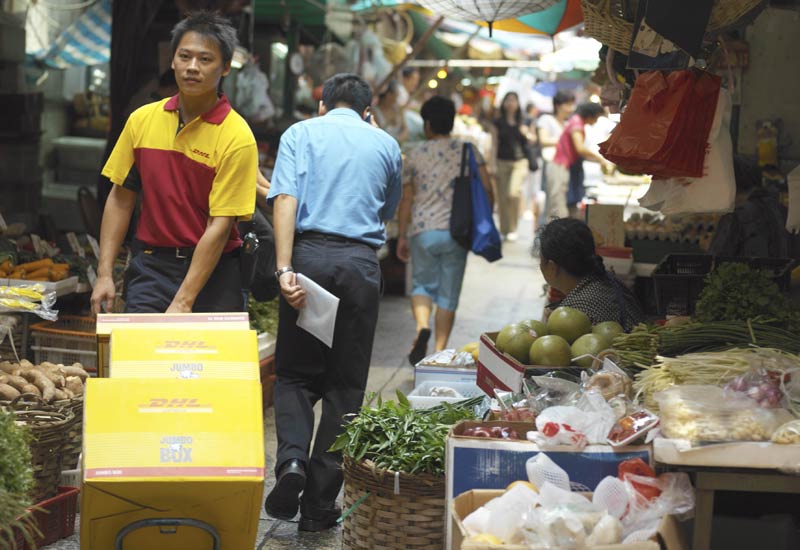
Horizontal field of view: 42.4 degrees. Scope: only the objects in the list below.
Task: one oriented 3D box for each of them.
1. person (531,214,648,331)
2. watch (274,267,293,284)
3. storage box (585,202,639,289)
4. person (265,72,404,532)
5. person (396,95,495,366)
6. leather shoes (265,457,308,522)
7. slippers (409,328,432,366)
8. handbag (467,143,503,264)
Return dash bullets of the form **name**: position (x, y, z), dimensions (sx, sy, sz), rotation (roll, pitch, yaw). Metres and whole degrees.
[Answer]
- **person**: position (1.147, 0.160, 6.360), dimensions (0.639, 0.931, 0.663), rotation (-12, 4, -9)
- **watch**: position (-0.644, -0.012, 5.788), dimensions (0.103, 0.063, 0.100), rotation (21, -48, -40)
- **storage box**: position (1.617, -0.217, 7.966), dimensions (0.357, 0.594, 0.468), rotation (5, 17, 15)
- **person**: position (-0.498, 0.138, 6.111), dimensions (0.811, 2.199, 0.792), rotation (0, 2, -36)
- **person**: position (0.341, -0.358, 8.284), dimensions (0.682, 1.966, 0.884), rotation (1, 3, 1)
- **leather shoes**: position (-0.627, 1.197, 5.679), dimensions (0.171, 0.382, 0.161), rotation (13, 36, -8)
- **slippers**: position (0.142, 0.549, 8.136), dimensions (0.117, 0.356, 0.136), rotation (16, 25, -8)
- **handbag**: position (0.627, -0.552, 7.952), dimensions (0.285, 0.873, 0.293), rotation (5, 15, 5)
